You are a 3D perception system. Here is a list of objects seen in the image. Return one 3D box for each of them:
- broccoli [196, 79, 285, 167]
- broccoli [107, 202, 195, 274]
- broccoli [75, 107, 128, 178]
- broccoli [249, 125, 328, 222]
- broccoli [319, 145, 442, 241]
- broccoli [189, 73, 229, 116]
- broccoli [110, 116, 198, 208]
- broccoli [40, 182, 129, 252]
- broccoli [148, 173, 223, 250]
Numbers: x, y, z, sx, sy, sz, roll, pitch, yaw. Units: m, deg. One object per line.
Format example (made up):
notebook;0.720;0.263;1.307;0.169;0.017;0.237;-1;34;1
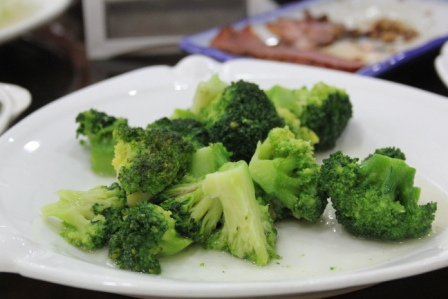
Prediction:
broccoli;0.082;-0.108;1.820;0.326;0.211;0.404;-33;37;-3
broccoli;-0.202;0.286;1.316;0.168;0.194;0.185;-14;52;-12
broccoli;-0.594;-0.013;1.833;0.228;0.156;0.301;3;56;-36
broccoli;0.247;0.054;1.555;0.374;0.199;0.295;-14;40;33
broccoli;0.554;0.173;1.439;0.390;0.204;0.359;39;39;24
broccoli;-0.074;-0.284;1.956;0.152;0.054;0.230;36;90;11
broccoli;-0.265;0.034;1.529;0.332;0.284;0.322;27;104;17
broccoli;-0.527;0.246;1.524;0.346;0.127;0.295;26;46;36
broccoli;-0.127;0.231;1.417;0.238;0.151;0.258;-3;76;-19
